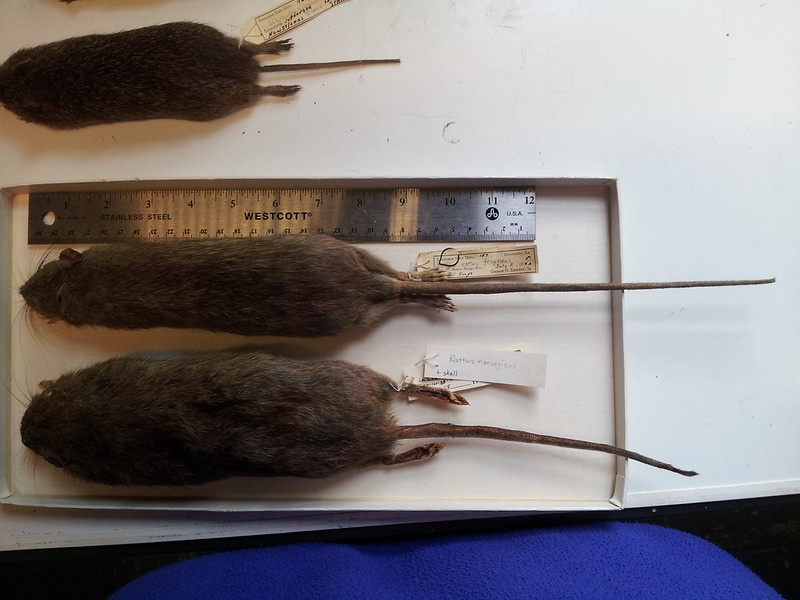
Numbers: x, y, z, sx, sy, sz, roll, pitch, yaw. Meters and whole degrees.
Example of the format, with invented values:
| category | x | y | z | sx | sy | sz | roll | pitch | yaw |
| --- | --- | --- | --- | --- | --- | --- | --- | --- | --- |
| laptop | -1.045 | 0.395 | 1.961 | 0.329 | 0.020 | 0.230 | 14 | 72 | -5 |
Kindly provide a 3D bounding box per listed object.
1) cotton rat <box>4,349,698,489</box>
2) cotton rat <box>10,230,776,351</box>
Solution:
| category | x | y | z | sx | sy | sz | roll | pitch | yaw |
| --- | --- | --- | --- | --- | --- | --- | --- | --- | --- |
| cotton rat | -1.059 | 0.822 | 5.183 | 3.109 | 0.702 | 0.672 | 2 | 43 | 0 |
| cotton rat | -0.113 | -0.058 | 5.267 | 5.491 | 0.610 | 0.671 | -1 | 66 | -2 |
